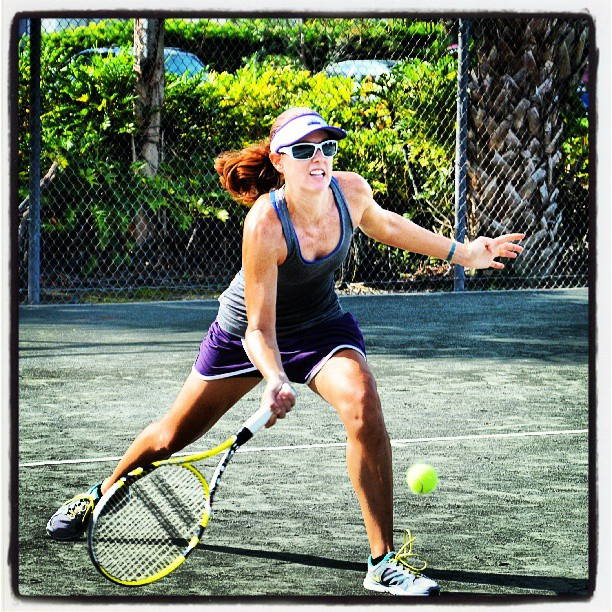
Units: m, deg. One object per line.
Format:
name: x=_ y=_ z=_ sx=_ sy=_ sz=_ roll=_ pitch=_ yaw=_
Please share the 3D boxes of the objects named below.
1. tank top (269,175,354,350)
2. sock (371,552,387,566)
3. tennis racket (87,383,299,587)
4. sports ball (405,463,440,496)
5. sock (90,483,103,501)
tank top: x=0.019 y=-0.141 z=3.060 sx=0.312 sy=0.579 sz=0.252 roll=-1 pitch=6 yaw=-19
sock: x=0.221 y=0.749 z=2.784 sx=0.058 sy=0.028 sz=0.019 roll=-34 pitch=21 yaw=-34
tennis racket: x=-0.409 y=0.592 z=2.906 sx=0.496 sy=0.633 sz=0.441 roll=0 pitch=6 yaw=-13
sports ball: x=0.419 y=0.623 z=3.384 sx=0.110 sy=0.138 sz=0.123 roll=12 pitch=-23 yaw=-14
sock: x=-0.713 y=0.641 z=3.191 sx=0.027 sy=0.045 sz=0.011 roll=-7 pitch=-33 yaw=35
